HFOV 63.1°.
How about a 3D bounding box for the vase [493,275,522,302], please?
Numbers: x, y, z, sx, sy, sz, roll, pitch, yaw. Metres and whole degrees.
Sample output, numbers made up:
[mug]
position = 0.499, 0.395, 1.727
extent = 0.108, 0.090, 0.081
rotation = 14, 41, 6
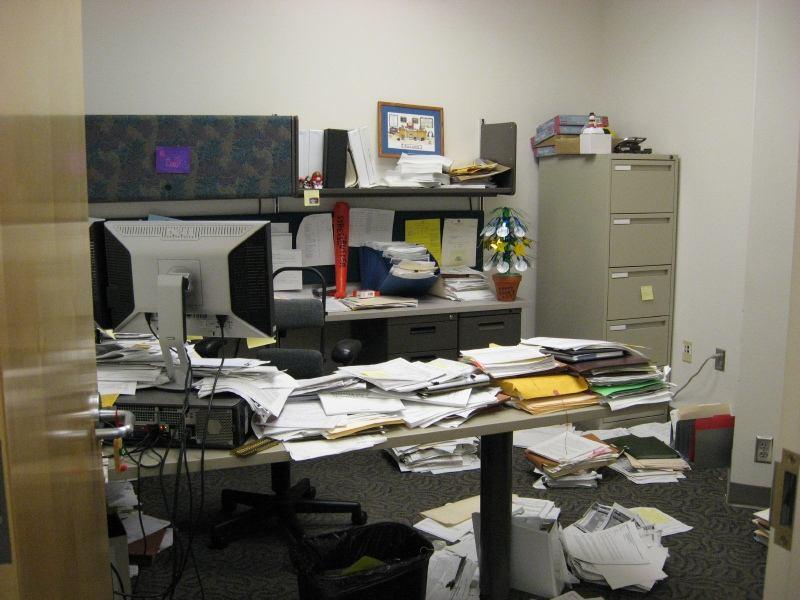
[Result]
[vase]
position = 0.611, -0.069, 3.725
extent = 0.161, 0.120, 0.156
rotation = 1, 2, 1

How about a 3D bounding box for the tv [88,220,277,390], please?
[tv]
position = -0.622, 0.005, 1.820
extent = 0.487, 0.460, 0.167
rotation = 2, 13, 2

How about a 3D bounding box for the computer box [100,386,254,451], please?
[computer box]
position = -0.563, 0.307, 1.680
extent = 0.356, 0.118, 0.139
rotation = -1, 7, 8

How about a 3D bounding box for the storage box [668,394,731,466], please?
[storage box]
position = 1.552, 0.667, 3.285
extent = 0.296, 0.172, 0.290
rotation = 1, 3, 1

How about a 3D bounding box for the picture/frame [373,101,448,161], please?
[picture/frame]
position = 0.040, -1.011, 3.869
extent = 0.429, 0.294, 0.029
rotation = -4, 7, -23
